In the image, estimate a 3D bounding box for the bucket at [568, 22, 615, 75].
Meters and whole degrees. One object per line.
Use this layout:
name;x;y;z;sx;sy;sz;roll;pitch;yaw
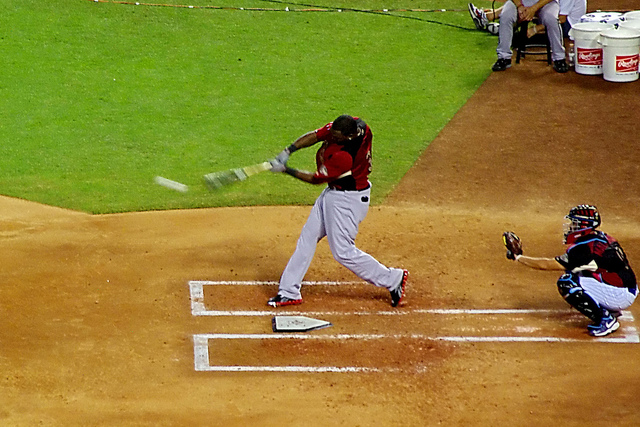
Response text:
bucket;6.297;-3.950;24.593;1.405;1.268;1.110;-2;14;0

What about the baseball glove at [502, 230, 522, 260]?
baseball glove;3.384;0.592;18.141;0.151;0.299;0.416;-30;14;-23

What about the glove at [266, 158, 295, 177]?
glove;-0.696;-0.792;17.957;0.267;0.406;0.134;-40;4;0

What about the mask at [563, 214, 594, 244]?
mask;4.427;0.308;17.953;0.561;0.470;0.416;6;2;9
